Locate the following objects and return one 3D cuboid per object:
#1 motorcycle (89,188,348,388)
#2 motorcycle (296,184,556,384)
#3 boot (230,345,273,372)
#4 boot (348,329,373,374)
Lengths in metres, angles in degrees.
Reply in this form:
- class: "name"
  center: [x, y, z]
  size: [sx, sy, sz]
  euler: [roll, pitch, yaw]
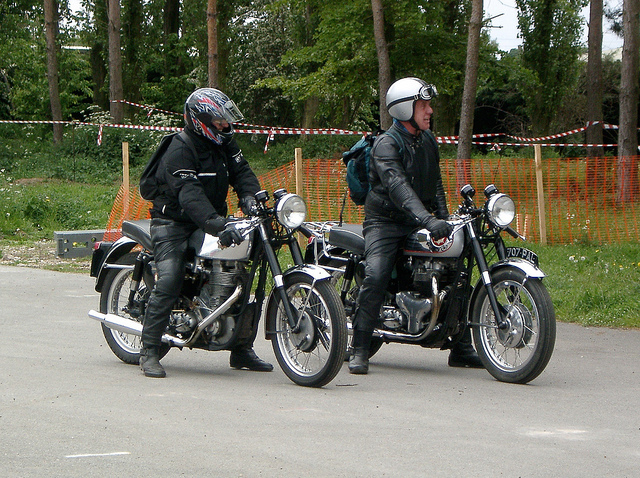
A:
- class: "motorcycle"
  center: [-1.035, 0.371, 7.602]
  size: [3.045, 1.694, 1.352]
  euler: [2, -7, 33]
- class: "motorcycle"
  center: [1.000, 0.371, 8.030]
  size: [1.211, 1.679, 3.098]
  euler: [2, 2, -42]
- class: "boot"
  center: [-0.600, 1.128, 7.750]
  size: [0.536, 0.238, 0.184]
  euler: [1, 1, 22]
- class: "boot"
  center: [0.360, 1.033, 7.670]
  size: [0.166, 0.383, 0.389]
  euler: [5, 30, -13]
